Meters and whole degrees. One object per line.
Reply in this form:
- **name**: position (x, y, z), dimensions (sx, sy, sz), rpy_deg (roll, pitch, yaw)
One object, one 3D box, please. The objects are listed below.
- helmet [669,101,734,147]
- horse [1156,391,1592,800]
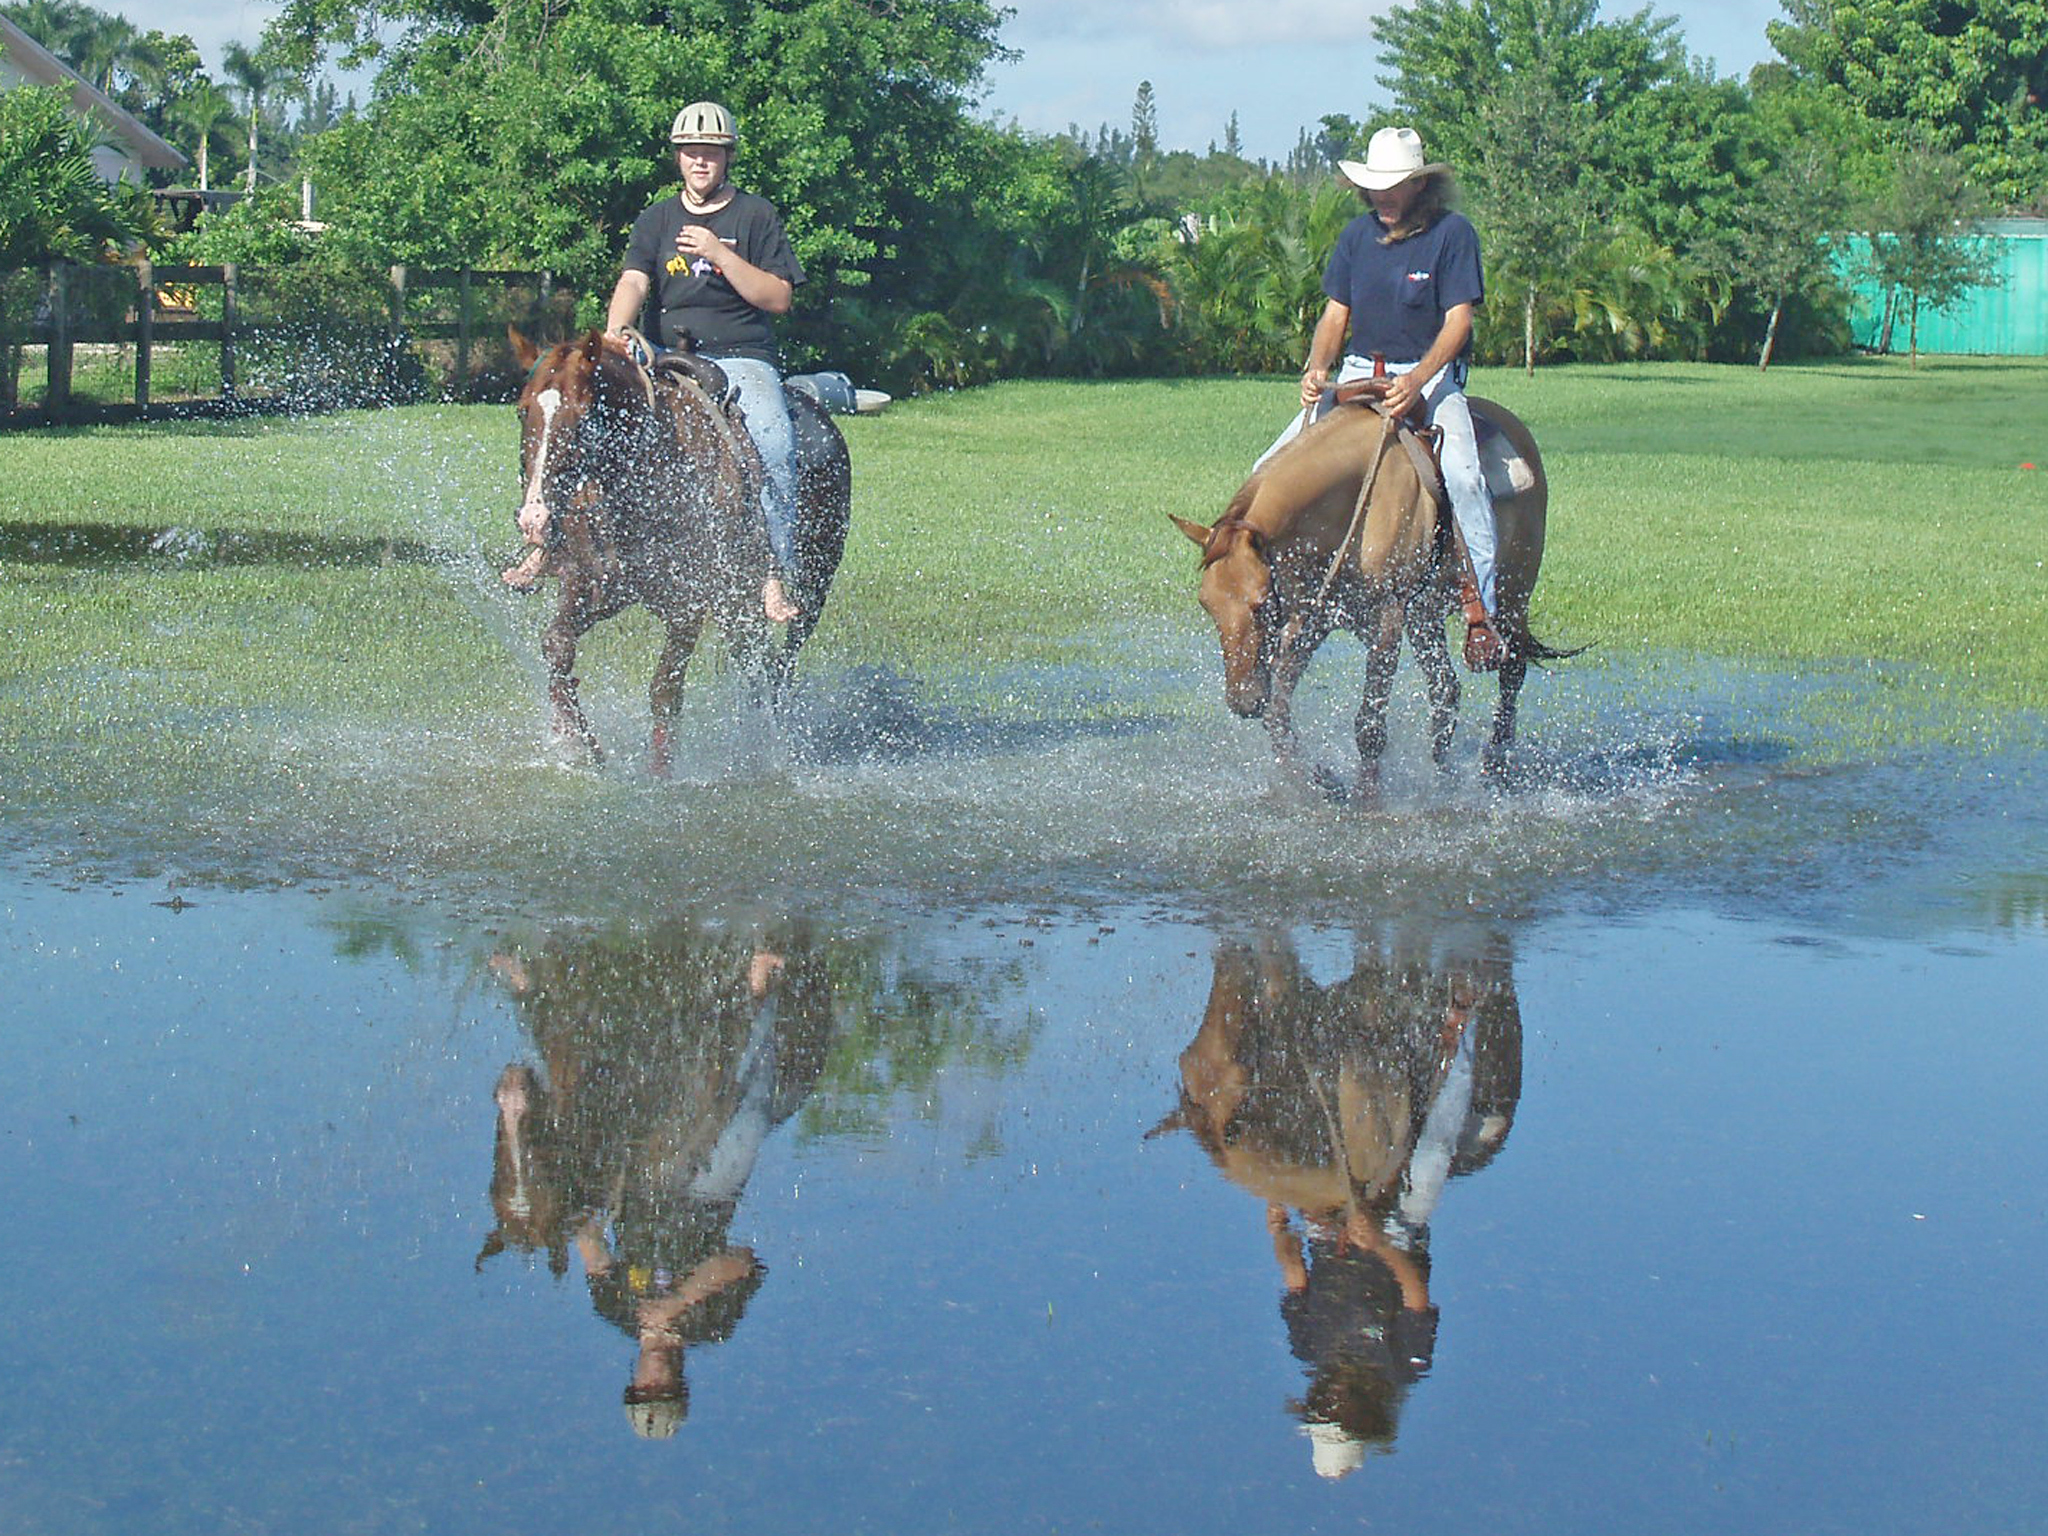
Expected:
- **helmet**: position (-1.680, -3.418, 15.796), dimensions (0.249, 0.187, 0.354), rpy_deg (0, 10, 1)
- **horse**: position (1.743, -0.867, 14.892), dimensions (2.129, 1.949, 0.674), rpy_deg (-12, 18, -38)
